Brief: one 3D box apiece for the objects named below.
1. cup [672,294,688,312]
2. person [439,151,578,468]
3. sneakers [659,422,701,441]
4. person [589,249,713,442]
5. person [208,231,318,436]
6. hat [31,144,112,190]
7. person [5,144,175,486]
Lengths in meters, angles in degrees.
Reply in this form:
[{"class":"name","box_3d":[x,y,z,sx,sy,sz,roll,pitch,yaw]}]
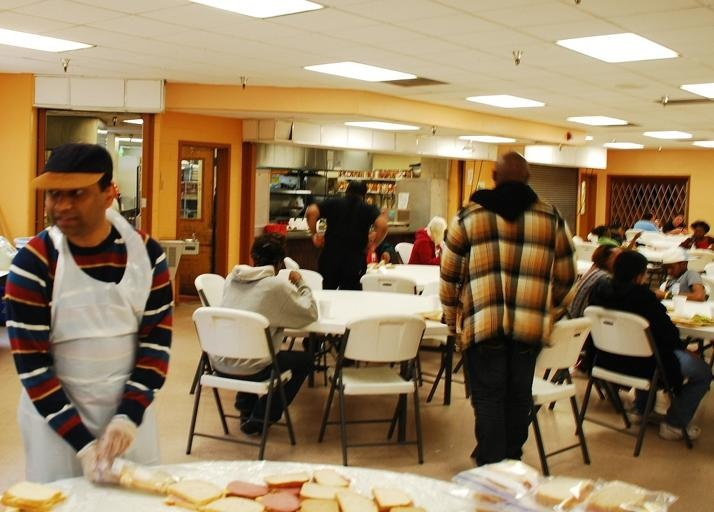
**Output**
[{"class":"cup","box_3d":[2.729,0.395,4.835,0.136,0.142,0.134,-1,6,0]},{"class":"person","box_3d":[0.862,0.411,3.319,0.776,1.677,0.393,3,8,11]},{"class":"sneakers","box_3d":[2.540,1.393,4.497,0.214,0.079,0.160,1,-4,8]},{"class":"person","box_3d":[2.294,0.708,4.437,0.907,1.447,0.705,4,8,18]},{"class":"person","box_3d":[-0.677,0.626,4.160,0.763,1.533,0.652,1,8,-7]},{"class":"hat","box_3d":[-0.999,-0.302,2.002,0.167,0.116,0.217,-3,-3,34]},{"class":"person","box_3d":[-0.949,0.223,2.027,0.553,1.232,0.448,-1,8,-19]}]
